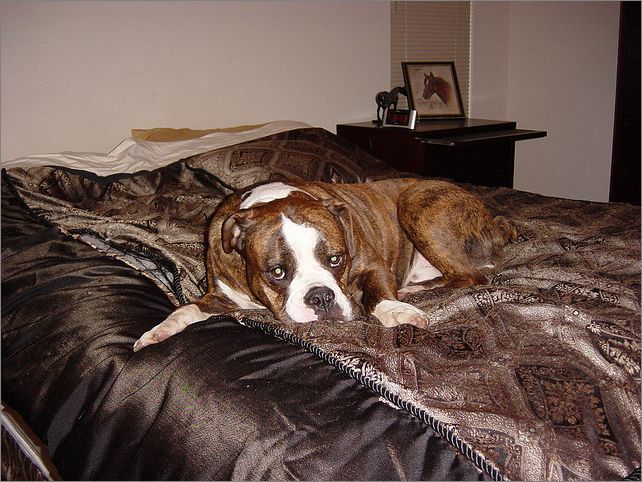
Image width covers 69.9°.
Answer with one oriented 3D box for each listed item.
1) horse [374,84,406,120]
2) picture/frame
[{"bbox_3d":[0.743,-1.447,4.875,0.311,0.369,0.533,3,16,8],"label":"horse"},{"bbox_3d":[1.302,-1.679,5.073,0.043,0.620,0.713,-15,7,33],"label":"picture/frame"}]
